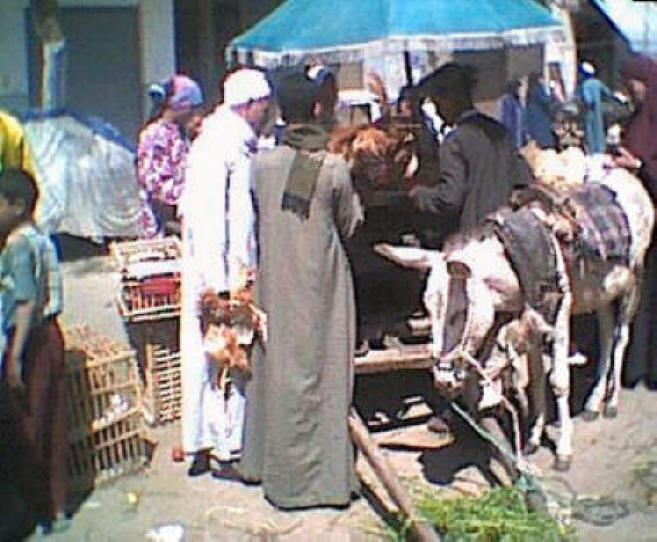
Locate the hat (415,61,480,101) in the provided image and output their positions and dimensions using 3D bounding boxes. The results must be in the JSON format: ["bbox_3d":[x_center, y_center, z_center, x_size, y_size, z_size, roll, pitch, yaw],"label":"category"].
[{"bbox_3d":[0.767,-1.291,7.119,0.290,0.249,0.084,-23,-32,22],"label":"hat"}]
